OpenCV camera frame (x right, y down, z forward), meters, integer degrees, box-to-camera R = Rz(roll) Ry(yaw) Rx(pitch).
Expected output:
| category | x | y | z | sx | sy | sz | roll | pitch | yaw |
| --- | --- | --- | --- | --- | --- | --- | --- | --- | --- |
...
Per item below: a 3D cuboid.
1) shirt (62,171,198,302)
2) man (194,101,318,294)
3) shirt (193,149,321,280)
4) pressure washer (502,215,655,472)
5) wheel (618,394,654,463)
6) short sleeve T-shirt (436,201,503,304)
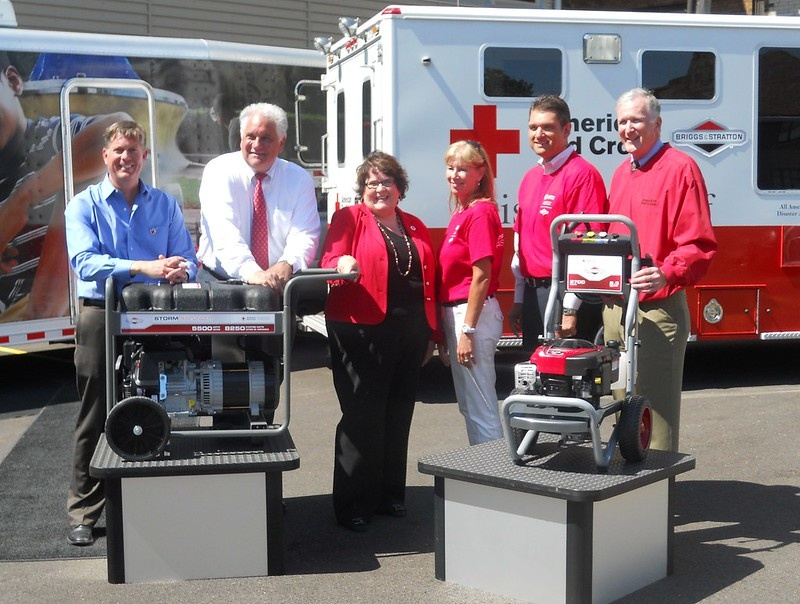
| category | x | y | z | sx | sy | sz | roll | pitch | yaw |
| --- | --- | --- | --- | --- | --- | --- | --- | --- | --- |
| shirt | -1.739 | -0.416 | 6.575 | 0.877 | 0.935 | 0.713 | -1 | -4 | -38 |
| man | -0.882 | -0.714 | 6.554 | 0.662 | 1.161 | 0.823 | 2 | 0 | -41 |
| shirt | -0.945 | -0.539 | 6.629 | 0.606 | 0.895 | 0.852 | 2 | 24 | -24 |
| pressure washer | 1.079 | 0.219 | 6.197 | 1.019 | 1.477 | 0.761 | -6 | 11 | -29 |
| wheel | 1.432 | 0.778 | 6.148 | 0.291 | 0.387 | 0.141 | -7 | 12 | -35 |
| short sleeve T-shirt | 0.464 | -0.363 | 6.985 | 0.339 | 0.697 | 0.619 | 1 | 5 | -17 |
